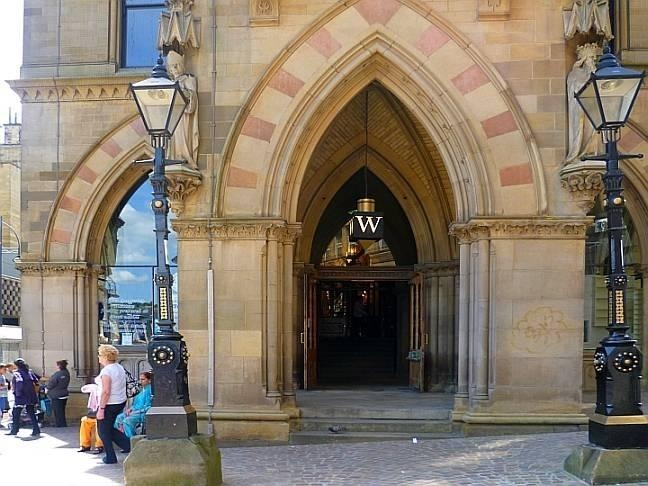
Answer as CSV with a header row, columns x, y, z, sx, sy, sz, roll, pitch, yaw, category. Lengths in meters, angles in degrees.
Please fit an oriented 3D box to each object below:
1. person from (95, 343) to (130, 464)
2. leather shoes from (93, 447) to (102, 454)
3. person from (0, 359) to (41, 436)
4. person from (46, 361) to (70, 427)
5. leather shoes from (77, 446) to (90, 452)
x,y,z,sx,sy,sz,roll,pitch,yaw,category
-4.112,3.109,25.977,0.611,2.282,0.929,-1,-8,-9,person
-4.546,4.126,26.694,0.197,0.166,0.111,4,-10,1,leather shoes
-6.569,3.349,29.230,0.686,1.738,1.476,0,-7,-12,person
-5.934,3.337,29.814,0.488,1.458,0.857,0,-7,-11,person
-4.830,4.123,26.899,0.262,0.154,0.093,4,-9,0,leather shoes
